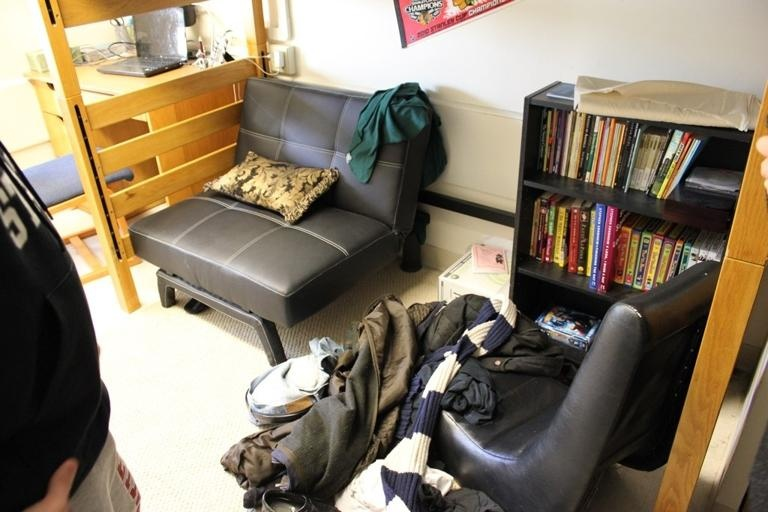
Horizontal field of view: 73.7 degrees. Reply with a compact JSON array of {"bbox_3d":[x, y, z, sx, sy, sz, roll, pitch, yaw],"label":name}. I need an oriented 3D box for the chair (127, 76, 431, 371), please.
[{"bbox_3d":[-0.557,-0.262,2.763,1.168,1.080,1.071,19,35,30],"label":"chair"}]

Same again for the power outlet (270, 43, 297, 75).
[{"bbox_3d":[-0.610,-1.202,3.101,0.140,0.134,0.074,21,35,30],"label":"power outlet"}]

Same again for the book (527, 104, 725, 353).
[{"bbox_3d":[0.952,-0.160,1.994,0.797,0.909,0.292,23,27,34],"label":"book"}]

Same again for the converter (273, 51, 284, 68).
[{"bbox_3d":[-0.646,-1.191,3.105,0.085,0.098,0.024,16,34,25],"label":"converter"}]
